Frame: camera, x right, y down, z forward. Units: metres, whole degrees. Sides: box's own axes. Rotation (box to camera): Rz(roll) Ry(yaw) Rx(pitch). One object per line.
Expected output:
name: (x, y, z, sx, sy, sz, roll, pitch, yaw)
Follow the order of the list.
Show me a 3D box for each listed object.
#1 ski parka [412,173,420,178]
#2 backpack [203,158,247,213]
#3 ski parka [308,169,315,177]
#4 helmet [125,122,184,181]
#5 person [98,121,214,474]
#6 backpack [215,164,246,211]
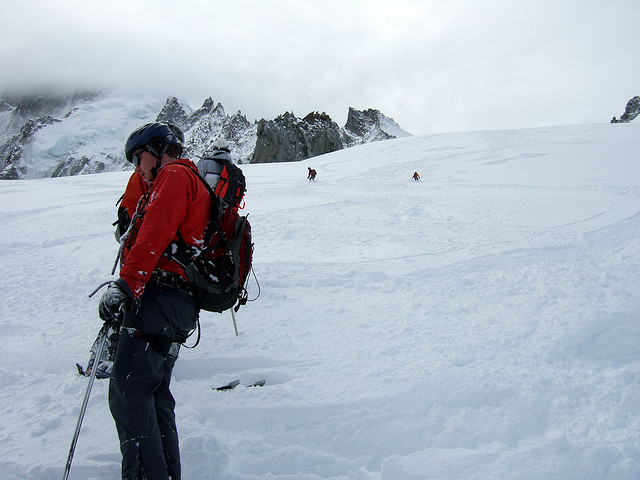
ski parka: (5.479, -3.821, 25.369, 0.322, 0.235, 0.654, -1, 15, 10)
backpack: (-1.234, -0.755, 5.810, 0.649, 0.649, 0.417, 6, -8, 45)
ski parka: (-0.476, -4.055, 25.801, 0.266, 0.467, 0.403, -4, 14, -5)
helmet: (-1.743, -1.024, 4.801, 0.593, 0.589, 0.485, -1, -6, -22)
person: (-1.505, 0.746, 4.300, 1.212, 2.959, 0.730, -13, 17, -34)
backpack: (-1.149, -0.702, 5.681, 0.318, 0.596, 0.409, 10, -9, 24)
